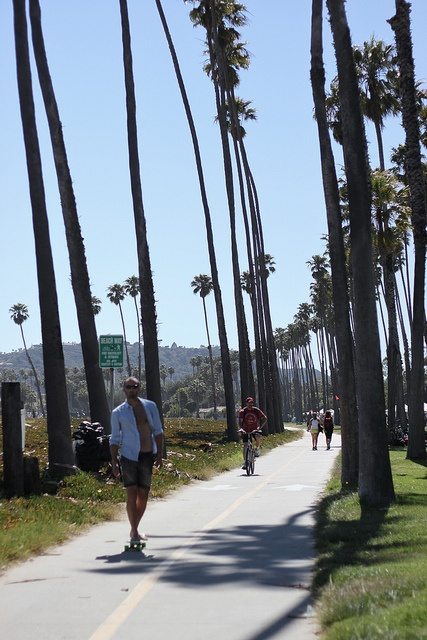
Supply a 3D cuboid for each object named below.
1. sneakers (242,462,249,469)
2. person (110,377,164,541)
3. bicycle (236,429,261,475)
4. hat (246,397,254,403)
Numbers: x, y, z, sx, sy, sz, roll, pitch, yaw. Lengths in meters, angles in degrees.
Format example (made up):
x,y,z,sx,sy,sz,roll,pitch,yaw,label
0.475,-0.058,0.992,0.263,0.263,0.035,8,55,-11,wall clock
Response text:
x,y,z,sx,sy,sz,roll,pitch,yaw,label
0.945,4.525,16.929,0.172,0.216,0.129,5,9,-20,sneakers
-0.912,1.678,6.735,0.616,1.924,0.498,-6,-4,-10,person
1.163,4.135,17.129,0.473,1.049,0.941,-10,-5,32,bicycle
1.078,2.365,16.691,0.191,0.175,0.315,-3,-27,0,hat
